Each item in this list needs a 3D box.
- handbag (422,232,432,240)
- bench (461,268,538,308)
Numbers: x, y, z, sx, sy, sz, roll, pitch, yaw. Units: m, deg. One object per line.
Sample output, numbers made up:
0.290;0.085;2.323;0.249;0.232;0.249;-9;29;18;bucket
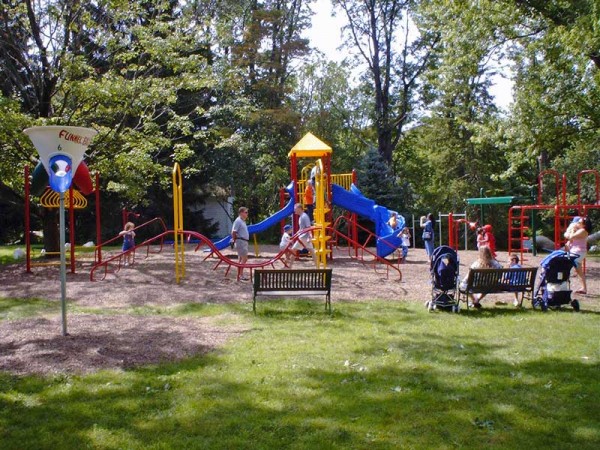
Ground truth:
4.441;0.394;22.902;0.275;0.223;0.235;0;-6;-12;handbag
4.336;1.309;14.229;1.483;0.875;0.526;-5;-14;35;bench
